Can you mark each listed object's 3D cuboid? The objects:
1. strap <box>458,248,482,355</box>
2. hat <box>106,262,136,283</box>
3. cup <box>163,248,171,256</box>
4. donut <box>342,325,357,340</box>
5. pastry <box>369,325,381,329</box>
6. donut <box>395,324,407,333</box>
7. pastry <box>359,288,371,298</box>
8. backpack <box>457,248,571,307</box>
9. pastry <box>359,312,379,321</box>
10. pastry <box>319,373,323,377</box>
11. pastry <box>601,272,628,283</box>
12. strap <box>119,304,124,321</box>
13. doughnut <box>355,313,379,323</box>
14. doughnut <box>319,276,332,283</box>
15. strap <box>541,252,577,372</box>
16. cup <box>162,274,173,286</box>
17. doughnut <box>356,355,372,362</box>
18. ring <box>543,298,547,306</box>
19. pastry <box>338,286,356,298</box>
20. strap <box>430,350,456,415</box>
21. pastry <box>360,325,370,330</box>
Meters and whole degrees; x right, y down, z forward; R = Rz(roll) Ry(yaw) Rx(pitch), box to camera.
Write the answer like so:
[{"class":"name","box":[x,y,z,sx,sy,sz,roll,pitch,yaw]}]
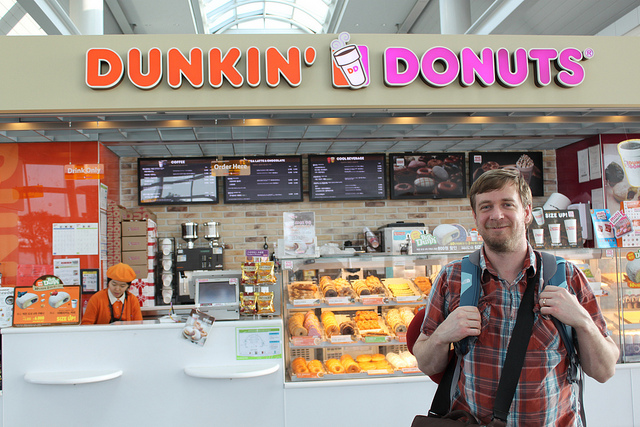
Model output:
[{"class":"strap","box":[0.919,0.397,2.815,0.166,0.367,0.127,-7,-4,15]},{"class":"hat","box":[-2.124,0.639,4.873,0.254,0.206,0.183,-3,-4,-22]},{"class":"cup","box":[-2.493,0.620,7.421,0.093,0.074,0.116,3,-15,-7]},{"class":"donut","box":[0.287,1.157,4.500,0.138,0.130,0.048,-5,-4,-3]},{"class":"pastry","box":[0.543,1.125,4.571,0.106,0.037,0.045,-4,-3,4]},{"class":"donut","box":[0.792,1.123,4.501,0.083,0.069,0.090,0,-3,-6]},{"class":"pastry","box":[0.445,0.798,4.614,0.088,0.071,0.018,-2,-14,-16]},{"class":"backpack","box":[1.133,0.379,2.759,0.576,0.466,0.346,9,-5,-3]},{"class":"pastry","box":[0.489,1.047,4.665,0.128,0.034,0.091,-2,17,0]},{"class":"pastry","box":[0.003,1.545,4.418,0.038,0.030,0.008,3,-6,-7]},{"class":"pastry","box":[3.077,0.670,4.796,0.255,0.094,0.022,-4,-4,-4]},{"class":"strap","box":[-2.138,1.058,4.921,0.028,0.185,0.026,24,-19,-26]},{"class":"doughnut","box":[0.479,1.044,4.659,0.133,0.035,0.120,-3,5,-8]},{"class":"doughnut","box":[0.045,0.676,4.702,0.088,0.017,0.079,2,19,6]},{"class":"strap","box":[1.396,0.580,2.709,0.155,0.637,0.178,1,-6,16]},{"class":"cup","box":[-2.471,1.059,7.383,0.186,0.165,0.186,7,25,-3]},{"class":"doughnut","box":[0.451,1.461,4.637,0.156,0.059,0.087,-4,-3,-9]},{"class":"ring","box":[1.301,0.509,2.648,0.011,0.003,0.050,-8,16,21]},{"class":"pastry","box":[0.266,0.786,4.596,0.171,0.112,0.068,-5,-4,1]},{"class":"strap","box":[0.752,1.043,2.847,0.138,0.340,0.169,0,0,6]},{"class":"pastry","box":[0.443,1.128,4.563,0.094,0.038,0.039,-4,-3,4]}]
